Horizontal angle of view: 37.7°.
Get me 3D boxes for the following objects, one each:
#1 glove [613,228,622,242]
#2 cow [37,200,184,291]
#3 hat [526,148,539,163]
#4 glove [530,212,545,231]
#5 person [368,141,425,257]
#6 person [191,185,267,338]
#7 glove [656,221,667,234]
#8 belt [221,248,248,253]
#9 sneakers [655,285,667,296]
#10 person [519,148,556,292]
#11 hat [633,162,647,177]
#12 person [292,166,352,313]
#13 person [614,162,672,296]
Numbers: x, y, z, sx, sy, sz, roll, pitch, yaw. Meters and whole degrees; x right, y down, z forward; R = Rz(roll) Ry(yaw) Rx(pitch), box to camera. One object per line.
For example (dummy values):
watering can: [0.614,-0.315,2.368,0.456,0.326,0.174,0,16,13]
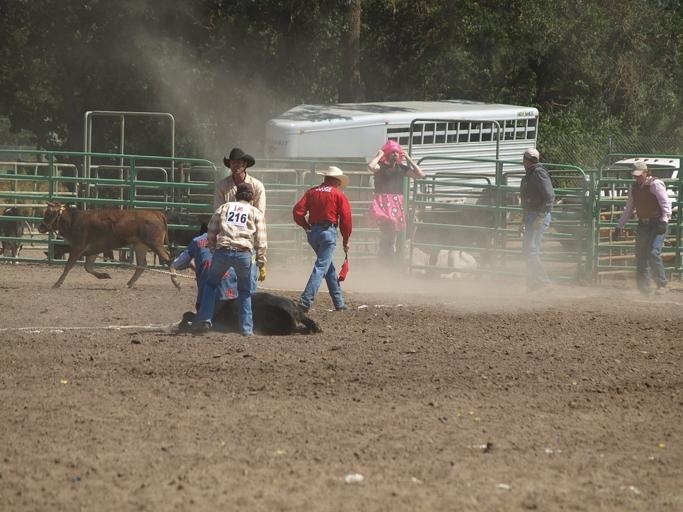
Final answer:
glove: [5.091,-0.424,18.493,0.209,0.234,0.267,6,12,28]
cow: [-4.014,-0.206,17.123,2.147,1.431,1.174,1,2,-3]
hat: [3.157,-1.622,16.543,0.236,0.259,0.312,5,18,2]
glove: [3.216,-0.572,16.310,0.172,0.119,0.262,-10,14,7]
person: [0.915,-0.963,17.567,0.750,2.078,0.724,1,2,2]
person: [-1.478,0.047,13.433,0.895,2.064,0.553,0,2,-7]
glove: [5.326,-0.473,16.636,0.207,0.192,0.319,2,-2,7]
belt: [-1.400,-0.087,13.208,0.348,0.046,0.081,0,3,-19]
sneakers: [5.373,0.571,16.760,0.157,0.140,0.554,2,3,30]
person: [3.195,-0.605,16.437,0.591,2.324,0.328,1,2,26]
hat: [5.037,-1.477,16.837,0.211,0.174,0.280,-3,8,40]
person: [-0.272,-0.258,14.898,0.919,2.199,0.825,0,2,-22]
person: [5.104,-0.488,16.760,0.758,2.215,0.490,1,2,22]
